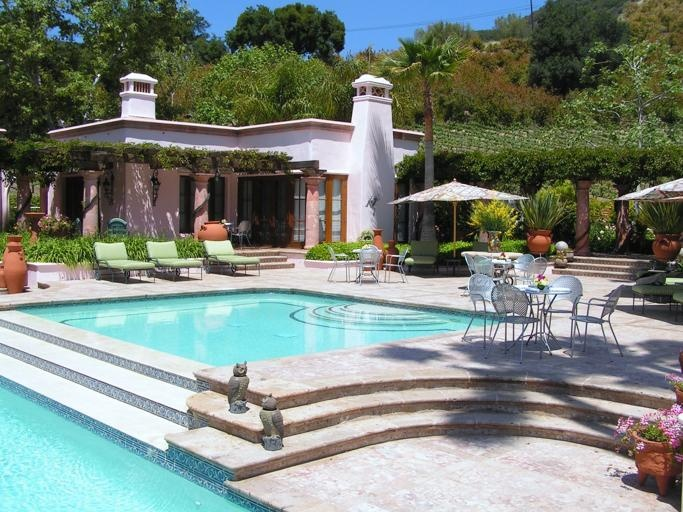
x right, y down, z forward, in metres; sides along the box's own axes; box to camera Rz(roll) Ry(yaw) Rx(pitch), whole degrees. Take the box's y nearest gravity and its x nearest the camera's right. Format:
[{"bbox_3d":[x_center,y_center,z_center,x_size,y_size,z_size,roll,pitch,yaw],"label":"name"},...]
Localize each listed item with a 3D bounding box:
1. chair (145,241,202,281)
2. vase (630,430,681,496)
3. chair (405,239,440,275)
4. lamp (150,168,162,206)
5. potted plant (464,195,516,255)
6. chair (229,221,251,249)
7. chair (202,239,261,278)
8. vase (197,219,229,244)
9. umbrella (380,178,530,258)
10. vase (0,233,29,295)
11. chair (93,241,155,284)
[{"bbox_3d":[-4.348,0.095,15.703,0.837,0.955,1.503,-4,7,-36],"label":"chair"},{"bbox_3d":[2.745,1.848,5.452,0.416,0.423,0.462,-1,-3,0],"label":"vase"},{"bbox_3d":[2.404,0.041,17.990,0.867,1.027,1.225,3,6,20],"label":"chair"},{"bbox_3d":[-6.186,-2.302,20.248,0.106,1.197,0.377,6,10,41],"label":"lamp"},{"bbox_3d":[4.603,-0.861,18.523,1.209,1.467,1.295,3,-11,-15],"label":"potted plant"},{"bbox_3d":[-3.621,-0.801,22.030,0.812,1.161,0.880,6,8,41],"label":"chair"},{"bbox_3d":[-3.161,0.051,16.936,0.896,0.864,1.588,-3,5,-35],"label":"chair"},{"bbox_3d":[-4.015,-0.754,18.880,0.715,0.515,0.719,0,-2,-16],"label":"vase"},{"bbox_3d":[3.004,-1.066,16.153,2.938,1.766,2.812,3,-4,-36],"label":"umbrella"},{"bbox_3d":[-6.953,0.210,12.862,0.456,1.231,0.908,-4,9,-29],"label":"vase"},{"bbox_3d":[-5.415,0.135,14.933,0.825,0.888,1.498,-3,5,-40],"label":"chair"}]
